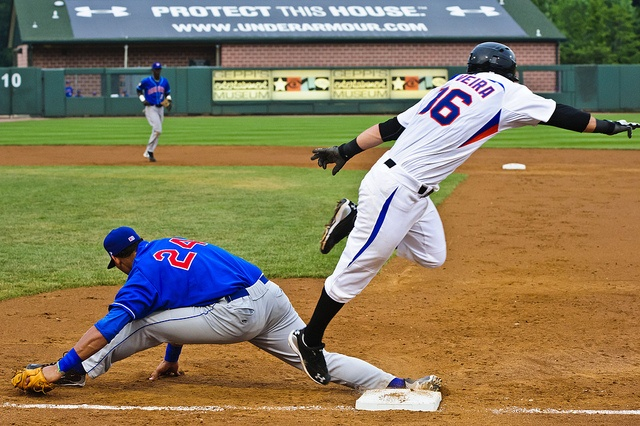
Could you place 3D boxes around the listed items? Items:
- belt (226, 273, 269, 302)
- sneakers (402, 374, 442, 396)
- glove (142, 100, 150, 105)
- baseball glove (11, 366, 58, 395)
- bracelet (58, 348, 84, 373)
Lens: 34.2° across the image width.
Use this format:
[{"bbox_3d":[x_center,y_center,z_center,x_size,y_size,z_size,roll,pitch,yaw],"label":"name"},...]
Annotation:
[{"bbox_3d":[-1.010,1.071,14.181,0.433,0.115,0.377,-26,-5,0],"label":"belt"},{"bbox_3d":[1.402,2.345,14.128,0.405,0.133,0.228,-3,1,10],"label":"sneakers"},{"bbox_3d":[-4.014,-2.534,23.722,0.121,0.141,0.234,-7,15,-27],"label":"glove"},{"bbox_3d":[-3.909,2.301,14.165,0.532,0.218,0.314,7,-2,6],"label":"baseball glove"},{"bbox_3d":[-3.416,2.018,14.050,0.207,0.226,0.354,-39,-5,-34],"label":"bracelet"}]
